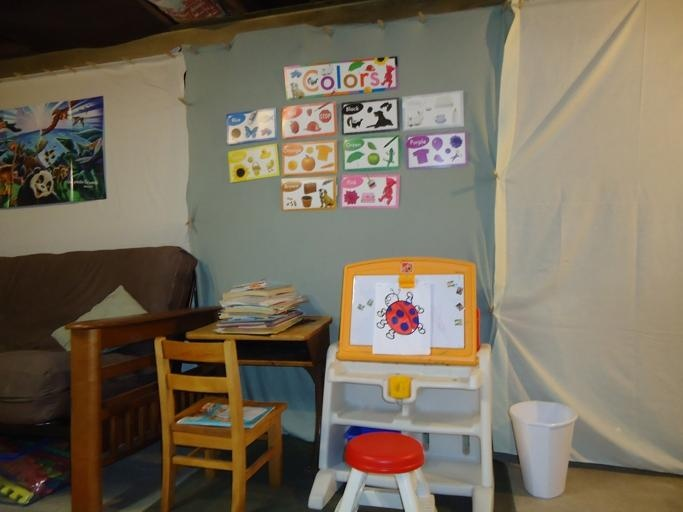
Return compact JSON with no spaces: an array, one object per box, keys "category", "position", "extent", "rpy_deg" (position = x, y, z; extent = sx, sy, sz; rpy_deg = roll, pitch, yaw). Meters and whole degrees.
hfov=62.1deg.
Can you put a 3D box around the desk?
[{"category":"desk","position":[-0.487,0.772,3.399],"extent":[0.760,0.729,0.643],"rpy_deg":[0,5,13]}]

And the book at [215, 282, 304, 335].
[{"category":"book","position":[-0.498,0.305,3.255],"extent":[0.338,0.159,0.343],"rpy_deg":[0,3,8]}]

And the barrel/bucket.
[{"category":"barrel/bucket","position":[1.074,1.054,3.203],"extent":[0.437,0.464,0.410],"rpy_deg":[-1,0,0]}]

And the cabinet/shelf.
[{"category":"cabinet/shelf","position":[0.381,0.838,3.269],"extent":[1.008,0.875,0.816],"rpy_deg":[-1,-7,13]}]
